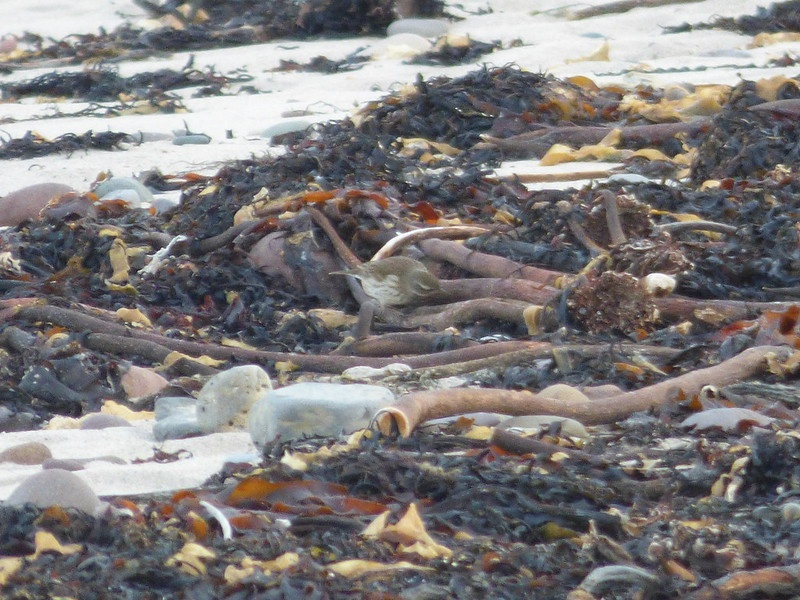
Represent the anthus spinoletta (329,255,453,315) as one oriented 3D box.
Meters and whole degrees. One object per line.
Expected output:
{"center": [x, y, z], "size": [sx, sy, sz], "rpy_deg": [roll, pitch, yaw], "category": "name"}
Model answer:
{"center": [-0.061, -0.128, 10.660], "size": [0.813, 0.362, 0.320], "rpy_deg": [24, 29, 5], "category": "anthus spinoletta"}
